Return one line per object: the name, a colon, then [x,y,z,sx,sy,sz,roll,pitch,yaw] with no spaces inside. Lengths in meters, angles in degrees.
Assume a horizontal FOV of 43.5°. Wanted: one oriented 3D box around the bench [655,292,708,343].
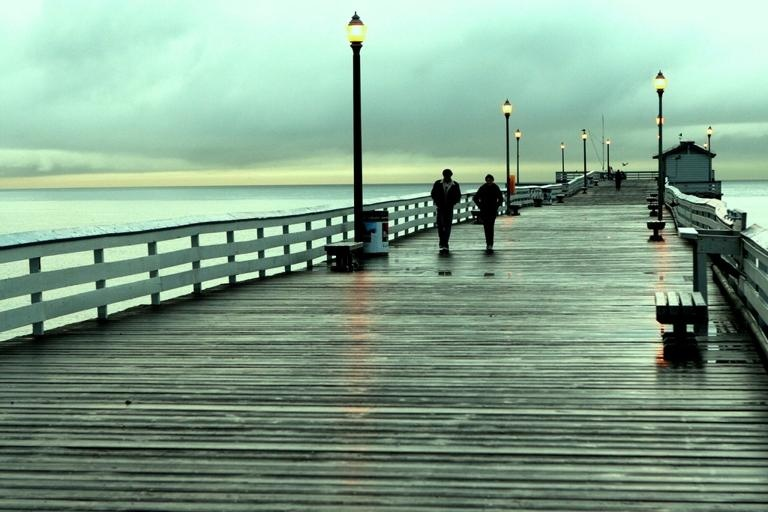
bench: [3.351,0.621,10.818,0.584,0.297,1.305,-1,6,13]
